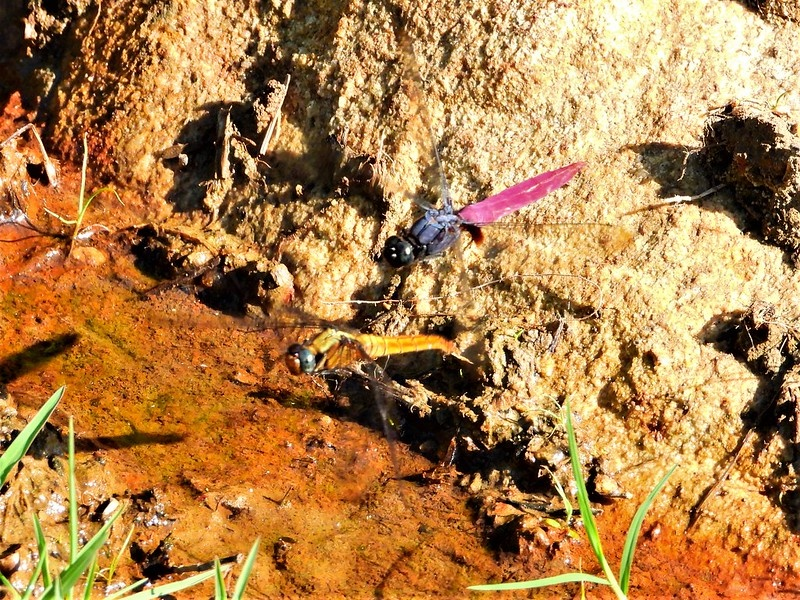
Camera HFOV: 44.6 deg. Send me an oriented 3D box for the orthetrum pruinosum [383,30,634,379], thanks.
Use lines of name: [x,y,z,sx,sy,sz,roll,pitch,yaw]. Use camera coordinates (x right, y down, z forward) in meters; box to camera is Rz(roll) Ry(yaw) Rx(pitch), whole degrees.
orthetrum pruinosum: [0.838,-0.917,9.392,2.139,3.668,0.521,-22,94,1]
